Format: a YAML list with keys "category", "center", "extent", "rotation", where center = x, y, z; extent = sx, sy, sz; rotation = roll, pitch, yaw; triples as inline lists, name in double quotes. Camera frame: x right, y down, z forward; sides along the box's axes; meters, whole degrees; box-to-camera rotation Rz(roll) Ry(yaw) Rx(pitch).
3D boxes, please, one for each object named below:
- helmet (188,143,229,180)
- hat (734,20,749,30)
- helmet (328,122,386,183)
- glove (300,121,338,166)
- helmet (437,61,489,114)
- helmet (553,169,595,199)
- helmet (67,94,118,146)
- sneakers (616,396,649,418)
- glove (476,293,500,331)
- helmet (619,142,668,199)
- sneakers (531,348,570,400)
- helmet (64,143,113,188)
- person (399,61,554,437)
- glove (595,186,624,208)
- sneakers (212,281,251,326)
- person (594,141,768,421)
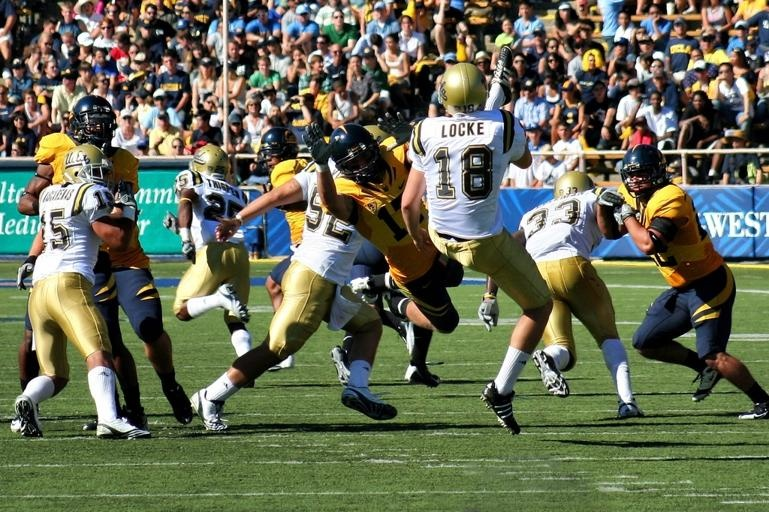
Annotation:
- category: "helmet"
  center: [-1.594, -0.884, 12.144]
  extent: [0.315, 0.350, 0.358]
  rotation: [1, 24, -30]
- category: "hat"
  center: [5.415, -3.493, 19.690]
  extent: [0.266, 0.114, 0.373]
  rotation: [0, 2, 17]
- category: "helmet"
  center: [-0.241, -0.805, 10.314]
  extent: [0.535, 0.467, 0.299]
  rotation: [-4, 8, -24]
- category: "glove"
  center: [-0.495, -0.854, 9.957]
  extent: [0.227, 0.311, 0.133]
  rotation: [-4, 8, -23]
- category: "helmet"
  center: [0.604, -1.274, 10.150]
  extent: [0.323, 0.407, 0.338]
  rotation: [0, -33, 5]
- category: "helmet"
  center: [1.650, -0.615, 11.363]
  extent: [0.310, 0.245, 0.226]
  rotation: [-36, 23, -18]
- category: "helmet"
  center: [-2.437, -1.121, 10.855]
  extent: [0.364, 0.431, 0.318]
  rotation: [-2, 7, -11]
- category: "sneakers"
  center: [2.005, 1.230, 10.535]
  extent: [0.180, 0.161, 0.384]
  rotation: [-2, -4, 17]
- category: "glove"
  center: [0.875, 0.477, 10.644]
  extent: [0.147, 0.294, 0.220]
  rotation: [-9, 13, -16]
- category: "helmet"
  center: [2.149, -0.723, 10.752]
  extent: [0.334, 0.386, 0.449]
  rotation: [-14, 11, 42]
- category: "sneakers"
  center: [1.326, 0.936, 10.384]
  extent: [0.224, 0.484, 0.177]
  rotation: [-26, -22, -7]
- category: "helmet"
  center: [-2.334, -0.727, 10.237]
  extent: [0.405, 0.308, 0.291]
  rotation: [1, 1, 14]
- category: "person"
  center: [0.739, 0.102, 10.211]
  extent: [1.055, 2.479, 0.563]
  rotation: [3, 8, 24]
- category: "glove"
  center: [1.873, -0.462, 10.519]
  extent: [0.201, 0.051, 0.145]
  rotation: [19, 6, -33]
- category: "sneakers"
  center: [-1.327, 0.405, 11.494]
  extent: [0.230, 0.170, 0.489]
  rotation: [-28, 62, -35]
- category: "person"
  center: [2.510, 0.188, 10.693]
  extent: [1.173, 2.189, 0.752]
  rotation: [0, 8, 9]
